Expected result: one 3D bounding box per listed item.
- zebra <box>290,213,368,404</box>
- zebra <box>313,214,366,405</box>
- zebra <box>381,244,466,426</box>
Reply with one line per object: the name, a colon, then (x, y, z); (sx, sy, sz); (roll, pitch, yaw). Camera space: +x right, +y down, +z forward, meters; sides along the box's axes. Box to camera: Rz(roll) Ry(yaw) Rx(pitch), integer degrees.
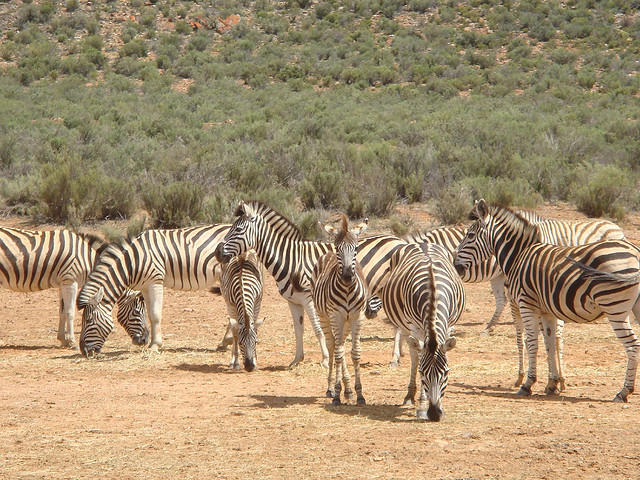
zebra: (0.386, 1.174, 15.054); (0.642, 3.171, 1.269); (-2, 2, -22)
zebra: (0.402, 1.197, 14.996); (0.615, 3.134, 1.144); (-2, 2, -23)
zebra: (1.692, 1.493, 14.970); (1.304, 2.819, 2.517); (-2, 1, 4)
